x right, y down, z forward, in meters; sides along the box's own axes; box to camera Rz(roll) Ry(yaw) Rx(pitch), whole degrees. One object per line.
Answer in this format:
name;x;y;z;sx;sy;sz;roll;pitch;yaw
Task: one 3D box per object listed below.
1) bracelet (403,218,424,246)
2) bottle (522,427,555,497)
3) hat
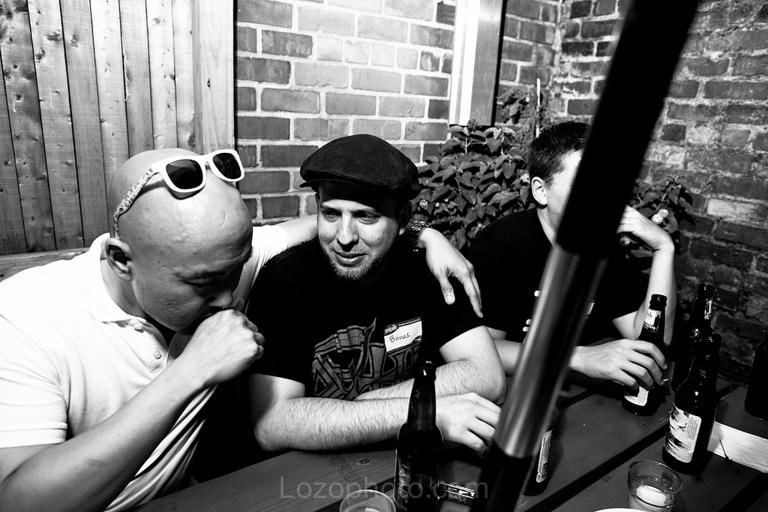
bracelet;0.127;-0.107;2.324;0.042;0.094;0.108;28;14;-7
bottle;0.534;0.658;1.708;0.083;0.066;0.283;-8;24;25
hat;-0.125;-0.377;2.137;0.459;0.207;0.434;16;26;20
